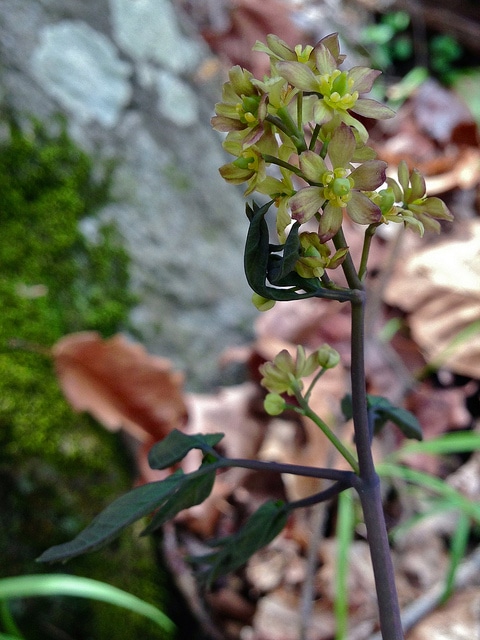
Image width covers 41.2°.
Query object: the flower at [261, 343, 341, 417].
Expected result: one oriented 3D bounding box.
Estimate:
[{"bbox_3d":[0.061,0.069,0.738,0.080,0.083,0.075,14,20,11],"label":"flower"}]
